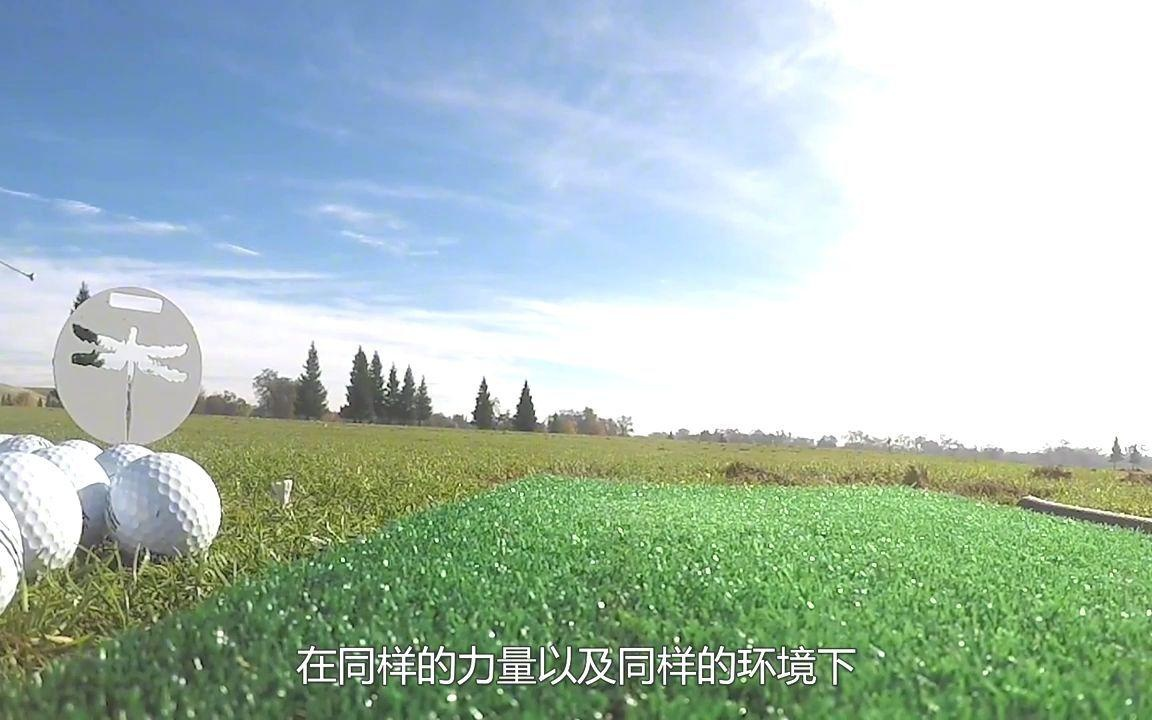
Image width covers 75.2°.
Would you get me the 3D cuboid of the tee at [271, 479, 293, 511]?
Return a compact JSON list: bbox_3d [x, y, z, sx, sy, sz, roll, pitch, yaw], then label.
[{"bbox_3d":[-5.045,2.269,12.873,0.414,0.485,0.450,3,-12,-29],"label":"tee"}]
